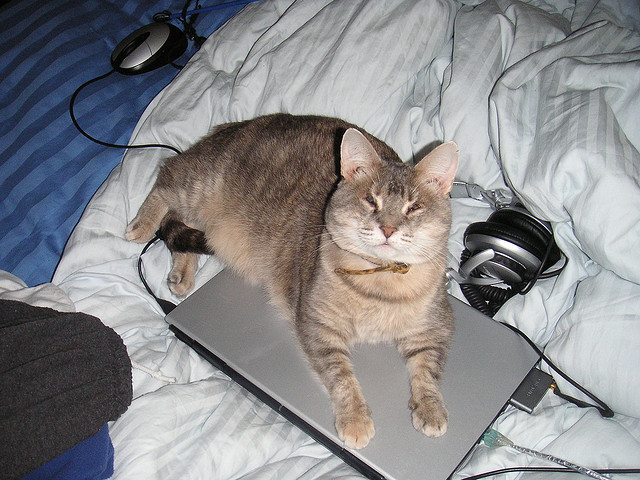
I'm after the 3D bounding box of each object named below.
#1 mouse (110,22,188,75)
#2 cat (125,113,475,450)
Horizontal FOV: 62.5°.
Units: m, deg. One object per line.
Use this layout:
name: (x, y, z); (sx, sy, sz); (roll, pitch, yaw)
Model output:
mouse: (-1.020, -1.140, 3.209); (0.401, 0.135, 0.293); (-29, 63, -22)
cat: (-0.018, -0.170, 2.776); (1.139, 1.285, 2.182); (-19, 43, -37)
